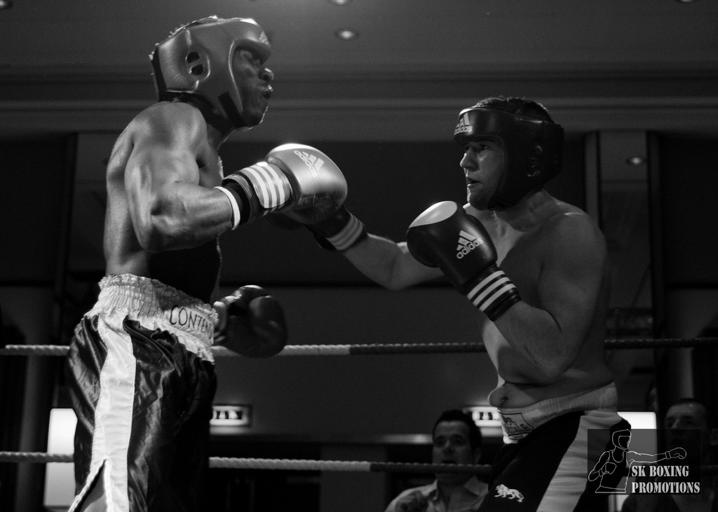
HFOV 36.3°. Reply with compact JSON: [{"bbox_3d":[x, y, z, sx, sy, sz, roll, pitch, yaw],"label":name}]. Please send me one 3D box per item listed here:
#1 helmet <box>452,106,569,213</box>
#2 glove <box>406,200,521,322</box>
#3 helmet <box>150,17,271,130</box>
[{"bbox_3d":[0.571,-0.397,4.716,0.551,0.420,0.404,4,-9,-3],"label":"helmet"},{"bbox_3d":[0.441,0.018,4.499,0.363,0.572,0.228,-45,-19,-4],"label":"glove"},{"bbox_3d":[-0.570,-0.770,4.688,0.605,0.417,0.417,2,-6,2],"label":"helmet"}]
